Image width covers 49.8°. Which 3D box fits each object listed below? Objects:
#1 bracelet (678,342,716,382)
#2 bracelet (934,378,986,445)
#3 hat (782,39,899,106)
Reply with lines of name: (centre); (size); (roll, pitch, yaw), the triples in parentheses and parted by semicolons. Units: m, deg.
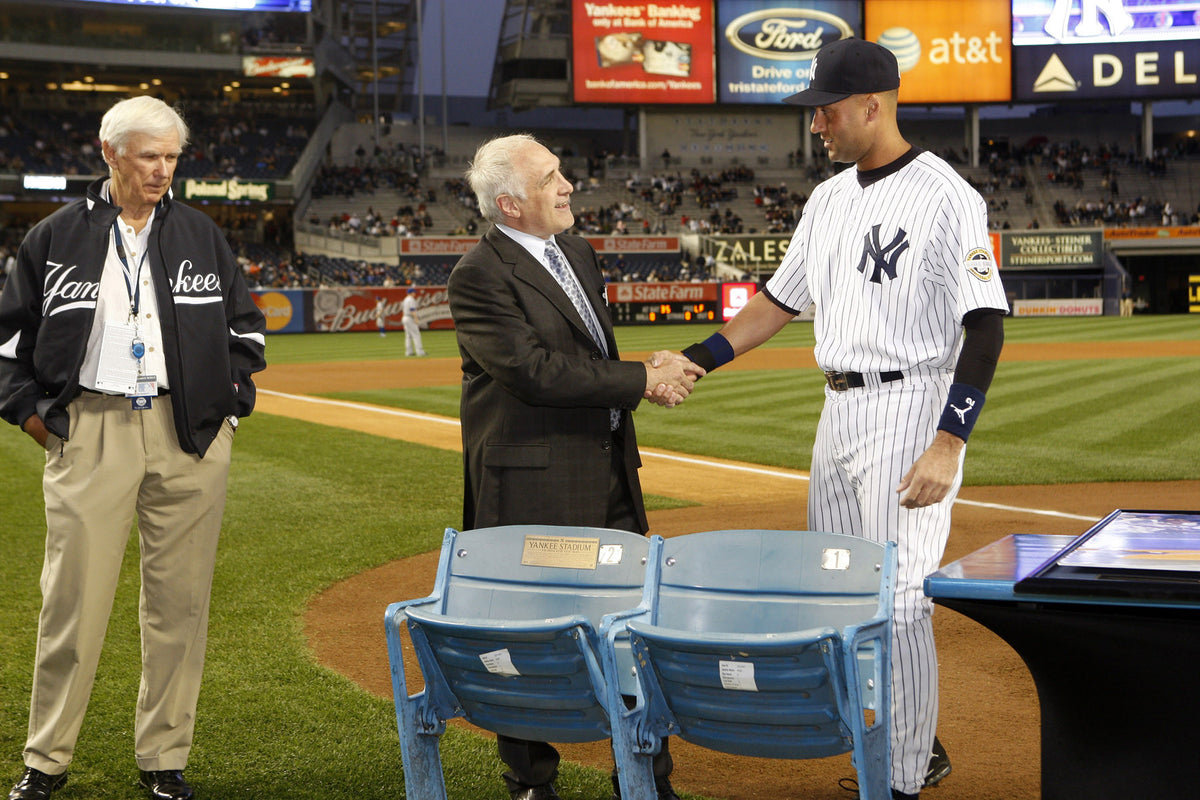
bracelet: (0.462, -0.192, 6.168); (0.168, 0.125, 0.050); (42, 22, 32)
bracelet: (1.468, 0.041, 5.238); (0.174, 0.234, 0.202); (4, 9, 14)
hat: (1.032, -1.408, 5.526); (0.442, 0.232, 0.294); (-4, 24, 2)
